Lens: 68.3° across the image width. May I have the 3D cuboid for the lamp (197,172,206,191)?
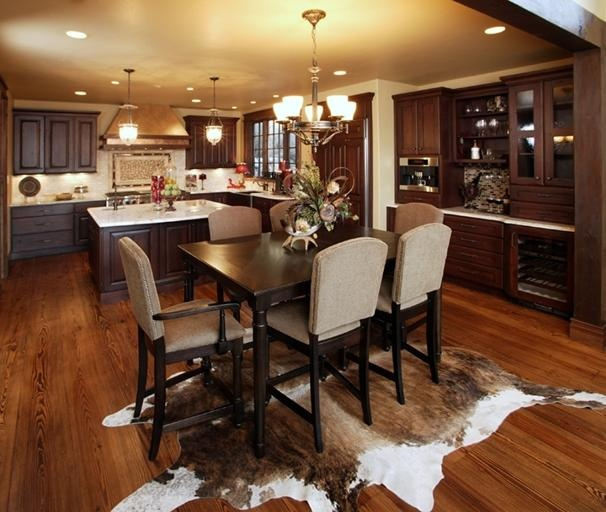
[{"bbox_3d":[-1.985,-1.481,8.820,0.168,0.339,0.307,-6,13,-11],"label":"lamp"}]

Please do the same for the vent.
[{"bbox_3d":[-2.844,-2.354,7.962,1.603,0.655,0.861,-14,41,-40],"label":"vent"}]

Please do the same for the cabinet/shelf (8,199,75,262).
[{"bbox_3d":[-4.139,-0.408,6.972,1.038,0.852,0.519,-3,6,-39],"label":"cabinet/shelf"}]

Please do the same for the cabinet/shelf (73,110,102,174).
[{"bbox_3d":[-3.585,-1.868,7.366,0.453,0.933,0.122,-8,14,-19],"label":"cabinet/shelf"}]

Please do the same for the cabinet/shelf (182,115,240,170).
[{"bbox_3d":[-1.792,-2.148,8.420,1.272,1.040,0.341,-5,11,-37],"label":"cabinet/shelf"}]

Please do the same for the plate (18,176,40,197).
[{"bbox_3d":[-4.369,-1.119,7.178,0.144,0.323,0.338,4,14,29],"label":"plate"}]

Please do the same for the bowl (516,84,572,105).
[{"bbox_3d":[2.351,-1.567,4.345,0.077,0.249,0.561,-11,15,-29],"label":"bowl"}]

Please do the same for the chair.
[{"bbox_3d":[-0.195,0.345,3.311,2.231,1.326,1.302,-1,4,-36],"label":"chair"}]

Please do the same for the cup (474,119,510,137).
[{"bbox_3d":[2.130,-1.418,5.072,0.300,0.171,0.247,2,5,25],"label":"cup"}]

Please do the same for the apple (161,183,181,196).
[{"bbox_3d":[-1.588,-0.790,5.307,0.263,0.098,0.249,-1,-4,-5],"label":"apple"}]
